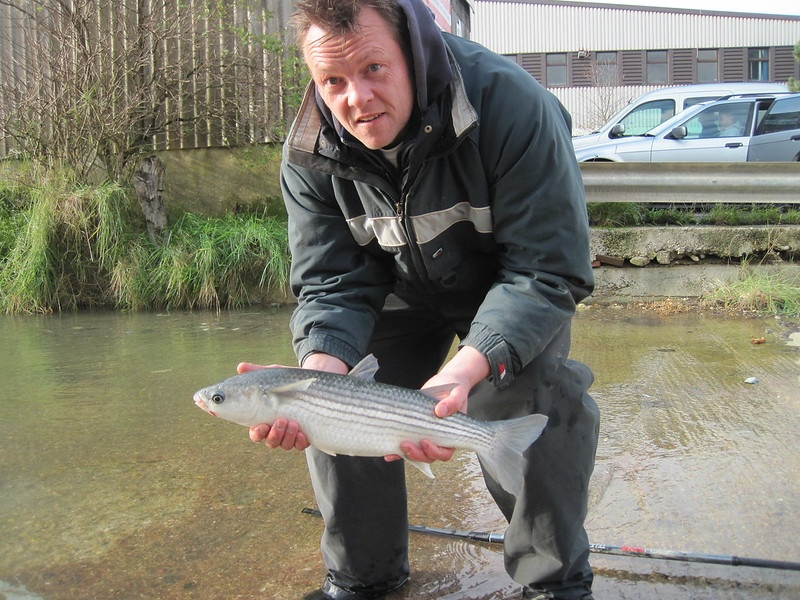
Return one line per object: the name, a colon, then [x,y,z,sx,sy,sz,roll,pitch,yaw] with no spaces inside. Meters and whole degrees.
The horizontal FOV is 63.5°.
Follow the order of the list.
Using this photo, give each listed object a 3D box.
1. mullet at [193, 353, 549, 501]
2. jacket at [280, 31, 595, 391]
mullet: [-0.123,0.498,2.504,1.356,0.491,0.103,-2,13,4]
jacket: [0.092,-0.174,3.007,1.028,1.773,1.092,4,16,-2]
